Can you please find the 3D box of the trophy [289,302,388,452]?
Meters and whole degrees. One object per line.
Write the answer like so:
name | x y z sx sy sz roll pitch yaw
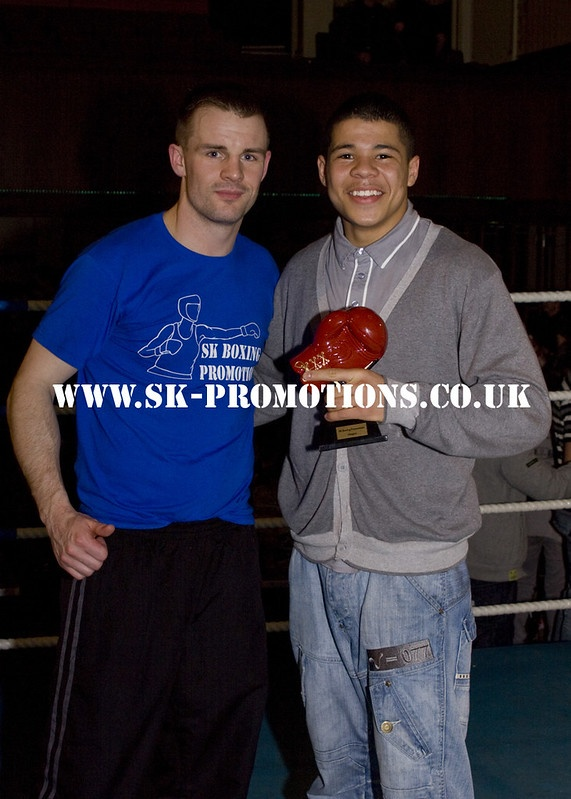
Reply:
trophy | 0.079 -0.026 1.366 0.224 0.265 0.144 1 11 43

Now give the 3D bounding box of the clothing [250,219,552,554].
clothing | 0.166 -0.012 1.452 0.282 0.624 0.556 -12 10 -35
